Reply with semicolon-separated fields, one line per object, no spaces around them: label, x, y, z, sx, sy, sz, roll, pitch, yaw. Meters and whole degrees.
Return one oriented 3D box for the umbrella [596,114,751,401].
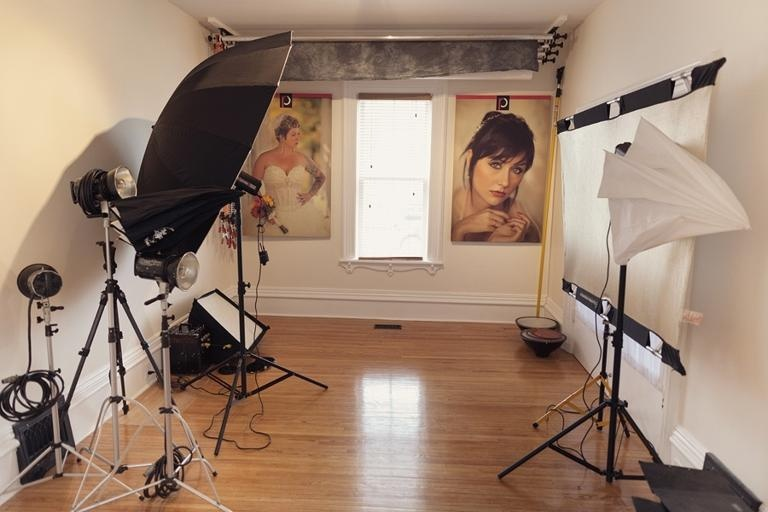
umbrella;1.652;-0.272;3.728;0.860;2.222;0.769;3;14;28
